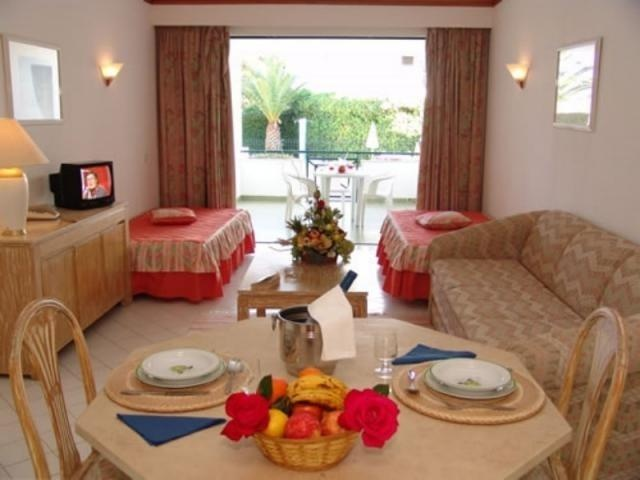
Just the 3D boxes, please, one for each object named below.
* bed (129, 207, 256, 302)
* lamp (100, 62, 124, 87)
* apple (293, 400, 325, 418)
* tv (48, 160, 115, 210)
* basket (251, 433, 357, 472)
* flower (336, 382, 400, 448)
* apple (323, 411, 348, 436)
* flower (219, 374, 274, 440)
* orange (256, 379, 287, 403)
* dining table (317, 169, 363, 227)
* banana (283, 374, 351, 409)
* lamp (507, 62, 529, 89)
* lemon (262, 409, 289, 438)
[{"bbox_3d":[-1.278,0.179,4.590,0.930,0.321,1.184,4,15,6],"label":"bed"},{"bbox_3d":[-2.097,-1.680,4.984,0.237,0.216,0.237,-7,19,-11],"label":"lamp"},{"bbox_3d":[-0.028,0.434,1.247,0.046,0.046,0.046,-19,-12,11],"label":"apple"},{"bbox_3d":[-2.044,-0.510,4.129,0.432,0.385,0.446,4,13,16],"label":"tv"},{"bbox_3d":[-0.027,0.482,1.163,0.141,0.049,0.144,-1,2,23],"label":"basket"},{"bbox_3d":[0.115,0.422,1.155,0.138,0.112,0.078,0,14,5],"label":"flower"},{"bbox_3d":[0.036,0.448,1.189,0.052,0.051,0.050,0,5,10],"label":"apple"},{"bbox_3d":[-0.174,0.420,1.151,0.111,0.108,0.077,-3,14,-7],"label":"flower"},{"bbox_3d":[-0.127,0.399,1.302,0.066,0.067,0.067,10,-5,2],"label":"orange"},{"bbox_3d":[0.326,-0.649,7.756,0.864,0.843,0.868,-1,12,1],"label":"dining table"},{"bbox_3d":[-0.003,0.393,1.278,0.117,0.047,0.083,5,24,10],"label":"banana"},{"bbox_3d":[2.042,-1.678,5.013,0.242,0.256,0.251,0,12,37],"label":"lamp"},{"bbox_3d":[-0.104,0.444,1.174,0.053,0.053,0.053,-1,1,2],"label":"lemon"}]
